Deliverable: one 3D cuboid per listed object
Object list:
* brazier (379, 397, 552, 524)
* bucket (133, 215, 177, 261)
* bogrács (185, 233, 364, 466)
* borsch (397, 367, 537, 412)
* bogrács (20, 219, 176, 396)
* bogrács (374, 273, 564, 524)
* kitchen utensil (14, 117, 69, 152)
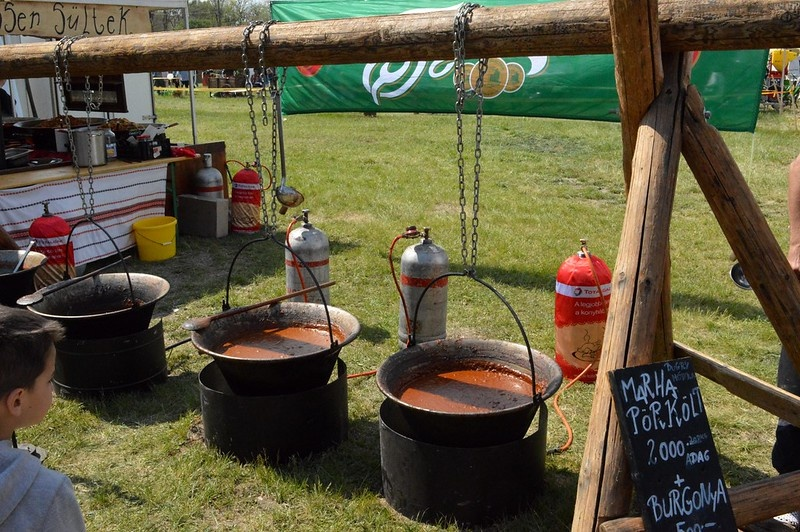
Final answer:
[{"bbox_3d":[0.503,1.633,5.701,1.276,0.688,0.353,-2,17,3],"label":"brazier"},{"bbox_3d":[-3.541,-0.377,10.469,0.574,0.522,0.615,0,15,0],"label":"bucket"},{"bbox_3d":[-1.107,0.650,6.464,1.379,2.028,1.449,-4,14,-20],"label":"bogrács"},{"bbox_3d":[0.572,1.004,5.808,0.738,0.442,0.248,-6,-15,-5],"label":"borsch"},{"bbox_3d":[-2.965,0.363,7.109,1.117,1.744,1.263,1,15,-3],"label":"bogrács"},{"bbox_3d":[0.412,1.139,6.493,1.710,2.375,1.699,-13,21,-37],"label":"bogrács"},{"bbox_3d":[-5.218,-1.890,10.574,0.412,0.419,1.453,-19,25,-41],"label":"kitchen utensil"}]
